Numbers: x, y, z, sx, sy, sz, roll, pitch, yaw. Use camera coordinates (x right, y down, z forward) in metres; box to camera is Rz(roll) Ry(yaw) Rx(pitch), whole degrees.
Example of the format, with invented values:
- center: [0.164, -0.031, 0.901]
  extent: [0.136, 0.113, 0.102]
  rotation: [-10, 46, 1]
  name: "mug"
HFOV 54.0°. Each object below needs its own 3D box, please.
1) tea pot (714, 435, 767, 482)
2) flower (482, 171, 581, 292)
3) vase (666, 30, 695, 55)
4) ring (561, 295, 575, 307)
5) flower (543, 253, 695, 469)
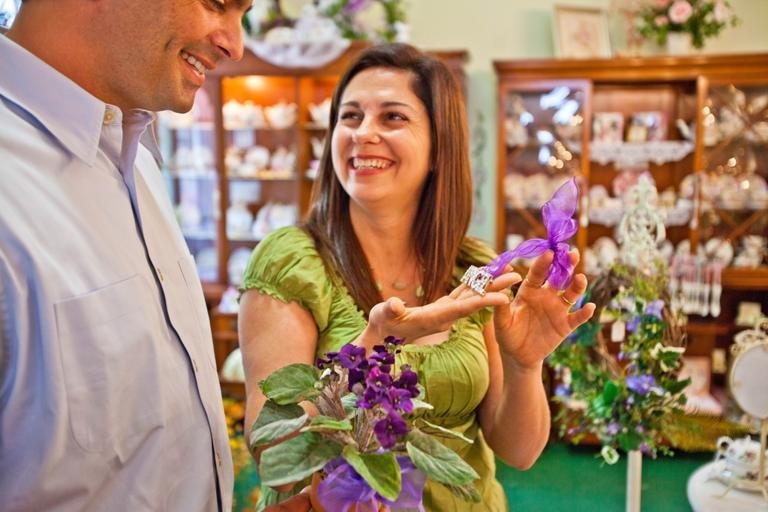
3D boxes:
- center: [1.205, 0.670, 2.546]
  extent: [0.142, 0.115, 0.126]
  rotation: [-2, -3, 27]
  name: "tea pot"
- center: [0.469, -0.066, 2.253]
  extent: [0.262, 0.294, 0.102]
  rotation: [-23, 28, 1]
  name: "flower"
- center: [1.779, -1.268, 4.543]
  extent: [0.121, 0.105, 0.131]
  rotation: [0, 6, 8]
  name: "vase"
- center: [0.537, 0.128, 2.205]
  extent: [0.041, 0.037, 0.023]
  rotation: [0, 2, -9]
  name: "ring"
- center: [0.993, 0.438, 3.035]
  extent: [0.668, 0.939, 0.292]
  rotation: [-9, -24, 43]
  name: "flower"
